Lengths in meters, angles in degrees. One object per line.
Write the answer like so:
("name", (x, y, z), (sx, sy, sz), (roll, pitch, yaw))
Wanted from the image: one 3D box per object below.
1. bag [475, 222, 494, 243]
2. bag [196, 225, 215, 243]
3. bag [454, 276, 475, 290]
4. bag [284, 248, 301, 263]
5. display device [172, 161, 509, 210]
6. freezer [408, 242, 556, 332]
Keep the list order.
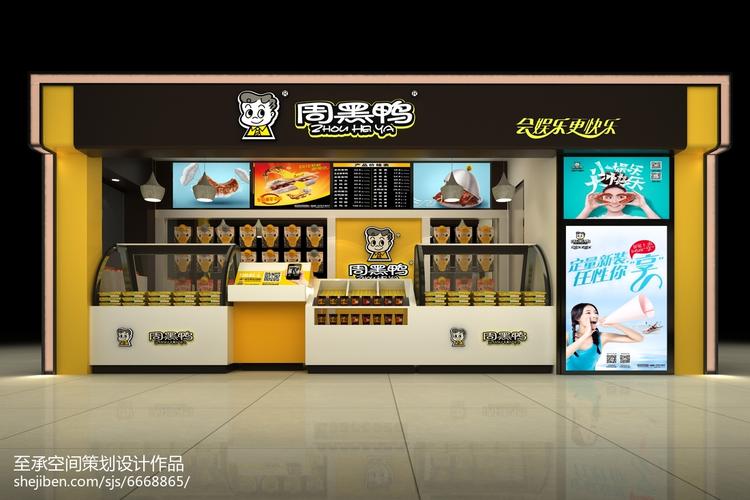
("bag", (2.161, -0.339, 11.900), (0.445, 0.406, 0.238), (0, -9, -1))
("bag", (-3.407, -0.328, 12.104), (0.391, 0.467, 0.273), (1, 5, 3))
("bag", (1.389, 0.521, 9.466), (0.252, 0.204, 0.055), (1, -13, 3))
("bag", (-1.633, 0.113, 11.871), (0.389, 0.316, 0.131), (5, -7, -7))
("display device", (-0.568, -1.394, 12.280), (7.082, 1.064, 0.116), (0, -16, -1))
("freezer", (1.647, 0.600, 9.265), (3.126, 1.300, 1.307), (-2, 0, 0))
